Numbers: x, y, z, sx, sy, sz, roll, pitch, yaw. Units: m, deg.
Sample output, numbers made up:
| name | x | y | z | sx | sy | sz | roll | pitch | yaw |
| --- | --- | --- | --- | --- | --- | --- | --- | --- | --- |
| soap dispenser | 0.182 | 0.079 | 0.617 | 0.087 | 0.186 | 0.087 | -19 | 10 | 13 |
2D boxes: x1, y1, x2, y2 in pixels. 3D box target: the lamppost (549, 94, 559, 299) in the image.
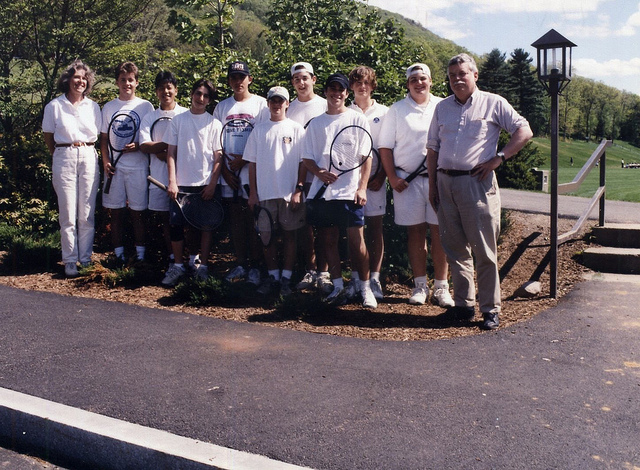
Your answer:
| name | x | y | z | sx | sy | sz | roll | pitch | yaw |
| --- | --- | --- | --- | --- | --- | --- | --- | --- | --- |
| lamppost | 3.071 | -0.535 | 7.716 | 0.143 | 2.927 | 0.147 | 1 | -14 | 18 |

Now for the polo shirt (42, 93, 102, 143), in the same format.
| name | x | y | z | sx | sy | sz | roll | pitch | yaw |
| --- | --- | --- | --- | --- | --- | --- | --- | --- | --- |
| polo shirt | -3.651 | -1.732 | 8.630 | 0.856 | 0.740 | 0.478 | -4 | 8 | -33 |

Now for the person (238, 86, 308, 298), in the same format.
| name | x | y | z | sx | sy | sz | roll | pitch | yaw |
| --- | --- | --- | --- | --- | --- | --- | --- | --- | --- |
| person | -0.529 | -0.589 | 7.709 | 0.817 | 2.668 | 1.188 | -9 | 16 | -32 |

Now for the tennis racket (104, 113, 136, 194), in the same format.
| name | x | y | z | sx | sy | sz | roll | pitch | yaw |
| --- | --- | --- | --- | --- | --- | --- | --- | --- | --- |
| tennis racket | -3.030 | -1.212 | 8.788 | 0.431 | 1.202 | 0.100 | 15 | 2 | -2 |

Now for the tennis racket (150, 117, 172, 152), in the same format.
| name | x | y | z | sx | sy | sz | roll | pitch | yaw |
| --- | --- | --- | --- | --- | --- | --- | --- | --- | --- |
| tennis racket | -2.313 | -1.514 | 8.343 | 0.341 | 0.347 | 0.080 | -5 | 13 | -43 |

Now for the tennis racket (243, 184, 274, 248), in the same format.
| name | x | y | z | sx | sy | sz | roll | pitch | yaw |
| --- | --- | --- | --- | --- | --- | --- | --- | --- | --- |
| tennis racket | -0.769 | -0.257 | 7.655 | 0.321 | 0.854 | 0.116 | -18 | -3 | 11 |

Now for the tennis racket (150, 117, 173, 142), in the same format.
| name | x | y | z | sx | sy | sz | roll | pitch | yaw |
| --- | --- | --- | --- | --- | --- | --- | --- | --- | --- |
| tennis racket | -2.294 | -1.534 | 8.357 | 0.078 | 0.340 | 0.348 | 9 | 17 | 11 |

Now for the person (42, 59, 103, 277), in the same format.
| name | x | y | z | sx | sy | sz | roll | pitch | yaw |
| --- | --- | --- | --- | --- | --- | --- | --- | --- | --- |
| person | -3.564 | -0.980 | 8.556 | 0.781 | 2.998 | 0.751 | -8 | 15 | -31 |

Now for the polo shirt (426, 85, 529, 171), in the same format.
| name | x | y | z | sx | sy | sz | roll | pitch | yaw |
| --- | --- | --- | --- | --- | --- | --- | --- | --- | --- |
| polo shirt | 1.790 | -1.224 | 6.840 | 1.220 | 1.063 | 0.570 | 13 | 25 | 36 |

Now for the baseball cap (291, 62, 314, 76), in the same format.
| name | x | y | z | sx | sy | sz | roll | pitch | yaw |
| --- | --- | --- | --- | --- | --- | --- | --- | --- | --- |
| baseball cap | -0.227 | -2.202 | 7.634 | 0.291 | 0.154 | 0.226 | -7 | 16 | -24 |

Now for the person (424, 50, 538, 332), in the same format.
| name | x | y | z | sx | sy | sz | roll | pitch | yaw |
| --- | --- | --- | --- | --- | --- | --- | --- | --- | --- |
| person | 1.775 | -0.519 | 6.717 | 0.999 | 3.035 | 0.721 | 5 | 14 | 19 |

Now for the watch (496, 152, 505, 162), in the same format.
| name | x | y | z | sx | sy | sz | roll | pitch | yaw |
| --- | --- | --- | --- | --- | --- | --- | --- | --- | --- |
| watch | 2.060 | -0.889 | 6.612 | 0.060 | 0.095 | 0.099 | 0 | 13 | -6 |

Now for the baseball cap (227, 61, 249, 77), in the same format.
| name | x | y | z | sx | sy | sz | roll | pitch | yaw |
| --- | --- | --- | --- | --- | --- | --- | --- | --- | --- |
| baseball cap | -1.137 | -2.294 | 7.987 | 0.290 | 0.176 | 0.224 | 0 | 14 | 1 |

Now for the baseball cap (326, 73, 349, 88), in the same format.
| name | x | y | z | sx | sy | sz | roll | pitch | yaw |
| --- | --- | --- | --- | --- | --- | --- | --- | --- | --- |
| baseball cap | 0.225 | -1.935 | 7.260 | 0.294 | 0.160 | 0.223 | -4 | 15 | -14 |

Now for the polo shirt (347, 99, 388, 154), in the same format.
| name | x | y | z | sx | sy | sz | roll | pitch | yaw |
| --- | --- | --- | --- | --- | --- | --- | --- | --- | --- |
| polo shirt | 0.602 | -1.368 | 7.424 | 0.592 | 0.754 | 0.396 | 2 | -21 | -10 |

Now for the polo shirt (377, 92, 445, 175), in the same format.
| name | x | y | z | sx | sy | sz | roll | pitch | yaw |
| --- | --- | --- | --- | --- | --- | --- | --- | --- | --- |
| polo shirt | 1.154 | -1.237 | 7.280 | 1.003 | 1.006 | 0.510 | 0 | 5 | -14 |

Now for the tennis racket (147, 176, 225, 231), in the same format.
| name | x | y | z | sx | sy | sz | roll | pitch | yaw |
| --- | --- | --- | --- | --- | --- | --- | --- | --- | --- |
| tennis racket | -1.784 | -0.461 | 7.907 | 1.279 | 0.524 | 0.101 | 39 | -8 | 4 |
